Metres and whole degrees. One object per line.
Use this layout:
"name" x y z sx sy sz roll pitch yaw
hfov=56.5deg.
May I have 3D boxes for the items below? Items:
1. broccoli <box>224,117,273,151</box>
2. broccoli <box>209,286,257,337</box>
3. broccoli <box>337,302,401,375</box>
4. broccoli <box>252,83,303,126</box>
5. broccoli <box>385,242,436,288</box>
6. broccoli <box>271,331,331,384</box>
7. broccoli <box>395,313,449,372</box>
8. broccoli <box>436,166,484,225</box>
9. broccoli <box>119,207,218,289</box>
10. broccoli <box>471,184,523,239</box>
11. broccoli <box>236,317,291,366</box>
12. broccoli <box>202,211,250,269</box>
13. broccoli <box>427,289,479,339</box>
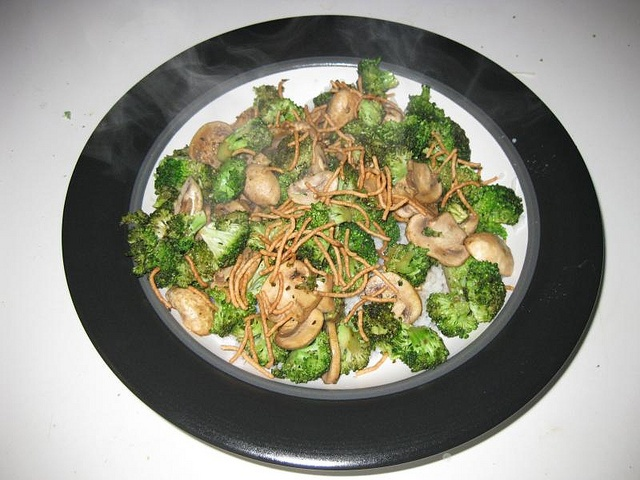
"broccoli" -0.490 -0.699 4.063 0.265 0.126 0.225 -20 83 7
"broccoli" -0.603 0.462 3.898 0.265 0.075 0.302 26 82 -8
"broccoli" 0.318 0.606 3.781 0.333 0.128 0.487 42 98 5
"broccoli" -0.302 -0.904 4.177 0.289 0.140 0.258 32 85 16
"broccoli" 0.603 0.169 4.017 0.249 0.125 0.282 -41 83 -7
"broccoli" -0.094 0.778 3.832 0.257 0.113 0.349 25 78 21
"broccoli" 0.657 0.708 3.916 0.358 0.174 0.262 2 42 4
"broccoli" 0.964 -0.312 4.192 0.265 0.109 0.403 7 93 3
"broccoli" -0.982 0.057 3.921 0.527 0.397 0.428 -17 44 -16
"broccoli" 1.174 -0.224 4.027 0.287 0.380 0.124 13 12 20
"broccoli" -0.389 0.692 3.906 0.340 0.091 0.266 48 50 7
"broccoli" -0.627 0.015 3.866 0.273 0.101 0.373 1 86 7
"broccoli" 0.872 0.499 3.944 0.262 0.098 0.300 -41 77 -2
